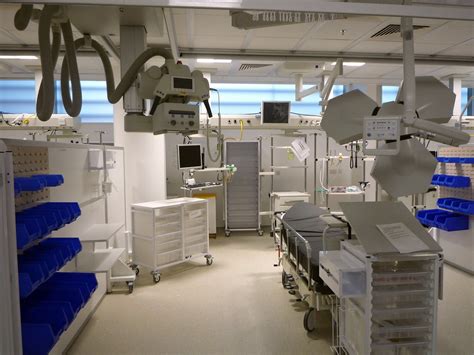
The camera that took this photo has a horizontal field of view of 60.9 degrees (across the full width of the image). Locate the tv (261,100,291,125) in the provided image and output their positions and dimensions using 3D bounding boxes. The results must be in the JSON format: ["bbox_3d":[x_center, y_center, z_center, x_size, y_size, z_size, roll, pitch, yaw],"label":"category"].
[{"bbox_3d":[0.604,-1.004,6.291,0.369,0.285,0.052,0,1,-5],"label":"tv"}]

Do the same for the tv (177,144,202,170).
[{"bbox_3d":[-0.782,-0.339,6.619,0.539,0.423,0.143,-10,13,-42],"label":"tv"}]
